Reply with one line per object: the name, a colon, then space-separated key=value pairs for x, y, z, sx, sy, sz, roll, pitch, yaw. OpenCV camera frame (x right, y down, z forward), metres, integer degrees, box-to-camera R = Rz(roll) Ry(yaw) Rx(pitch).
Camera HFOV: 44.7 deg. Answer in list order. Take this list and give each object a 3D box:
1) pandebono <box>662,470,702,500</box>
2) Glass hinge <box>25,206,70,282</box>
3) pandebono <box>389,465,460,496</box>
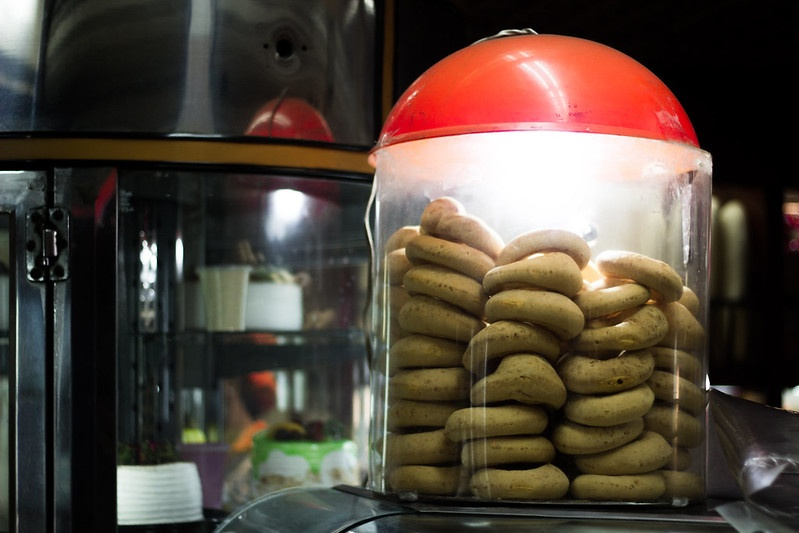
pandebono: x=0.369 y=0.285 z=1.267 sx=0.064 sy=0.033 sz=0.029 roll=5 pitch=-9 yaw=-30
Glass hinge: x=-0.649 y=-0.042 z=1.783 sx=0.074 sy=0.144 sz=0.023 roll=-3 pitch=23 yaw=-24
pandebono: x=0.031 y=0.278 z=1.270 sx=0.103 sy=0.038 sz=0.012 roll=-3 pitch=-6 yaw=29
